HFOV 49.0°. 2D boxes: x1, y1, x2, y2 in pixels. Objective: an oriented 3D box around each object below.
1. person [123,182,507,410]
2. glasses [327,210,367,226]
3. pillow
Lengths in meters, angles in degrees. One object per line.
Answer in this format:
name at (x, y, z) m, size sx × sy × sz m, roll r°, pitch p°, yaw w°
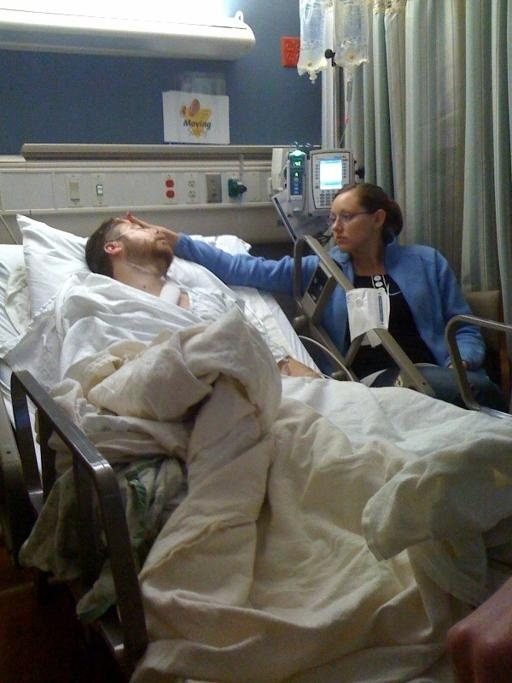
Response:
person at (0.382, -0.262, 2.396) m, size 0.876 × 0.790 × 1.313 m, roll -4°, pitch 7°, yaw -21°
glasses at (0.378, -0.527, 2.392) m, size 0.165 × 0.053 × 0.073 m, roll 10°, pitch 21°, yaw 41°
pillow at (-0.641, -0.287, 2.303) m, size 0.629 × 0.566 × 0.187 m, roll -6°, pitch -17°, yaw -45°
